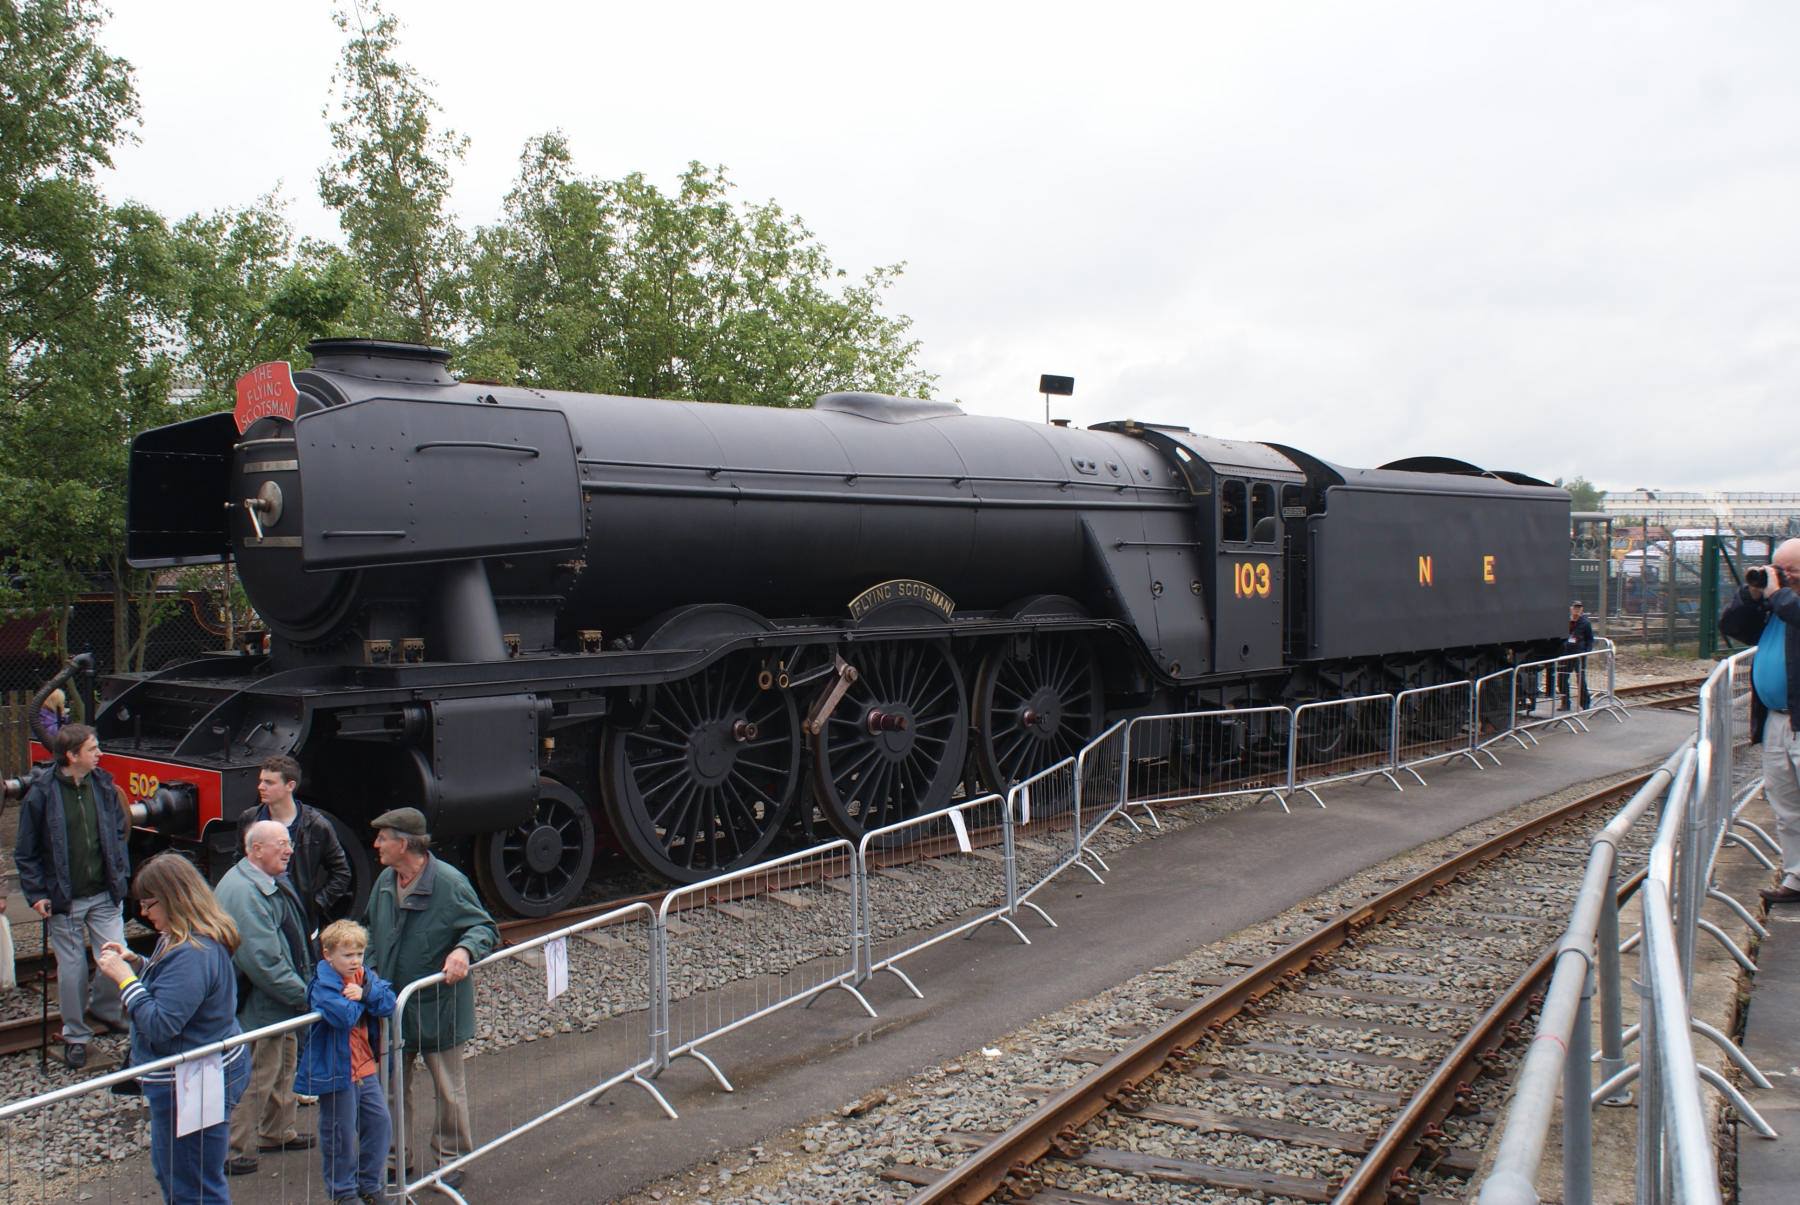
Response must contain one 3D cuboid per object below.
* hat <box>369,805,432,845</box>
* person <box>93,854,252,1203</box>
[{"bbox_3d":[-3.093,1.351,8.040,0.391,0.143,0.275,10,2,15],"label":"hat"},{"bbox_3d":[-3.795,2.321,6.931,0.640,1.885,0.793,-3,6,-30],"label":"person"}]
